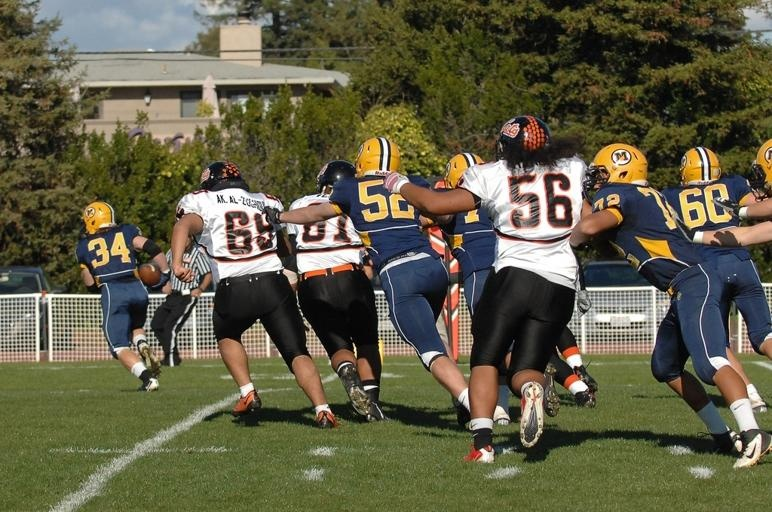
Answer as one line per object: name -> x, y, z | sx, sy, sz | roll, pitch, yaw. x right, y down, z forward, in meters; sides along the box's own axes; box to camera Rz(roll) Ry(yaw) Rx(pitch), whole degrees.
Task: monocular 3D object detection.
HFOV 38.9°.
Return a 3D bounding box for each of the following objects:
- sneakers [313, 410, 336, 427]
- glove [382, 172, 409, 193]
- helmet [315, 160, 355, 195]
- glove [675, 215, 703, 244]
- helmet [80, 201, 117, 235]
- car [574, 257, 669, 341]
sneakers -> -0.754, 2.051, 13.683 | 0.124, 0.135, 0.311 | 2, 4, 13
glove -> 0.100, -0.838, 12.378 | 0.188, 0.122, 0.302 | 0, 11, -40
helmet -> -0.725, -1.015, 14.514 | 0.487, 0.479, 0.416 | 24, 19, 30
glove -> 3.463, -0.327, 12.642 | 0.179, 0.138, 0.442 | -13, 41, -2
helmet -> -4.577, -0.602, 17.296 | 0.599, 0.570, 0.465 | -2, -5, 21
car -> 4.916, 0.655, 24.409 | 1.603, 1.348, 3.036 | 4, 18, 11
